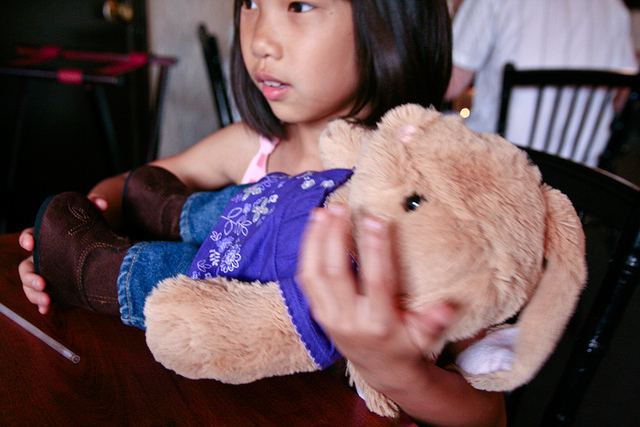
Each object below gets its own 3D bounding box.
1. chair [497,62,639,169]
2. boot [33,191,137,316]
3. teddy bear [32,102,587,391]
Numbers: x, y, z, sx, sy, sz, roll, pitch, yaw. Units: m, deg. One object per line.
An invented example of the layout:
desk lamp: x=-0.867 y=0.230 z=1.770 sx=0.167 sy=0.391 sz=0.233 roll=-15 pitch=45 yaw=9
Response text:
chair: x=0.842 y=-0.331 z=1.920 sx=0.254 sy=0.442 sz=0.277 roll=27 pitch=62 yaw=24
boot: x=-0.510 y=0.086 z=1.270 sx=0.147 sy=0.348 sz=0.143 roll=0 pitch=2 yaw=17
teddy bear: x=-0.032 y=0.047 z=1.195 sx=0.861 sy=0.394 sz=0.689 roll=8 pitch=14 yaw=19
